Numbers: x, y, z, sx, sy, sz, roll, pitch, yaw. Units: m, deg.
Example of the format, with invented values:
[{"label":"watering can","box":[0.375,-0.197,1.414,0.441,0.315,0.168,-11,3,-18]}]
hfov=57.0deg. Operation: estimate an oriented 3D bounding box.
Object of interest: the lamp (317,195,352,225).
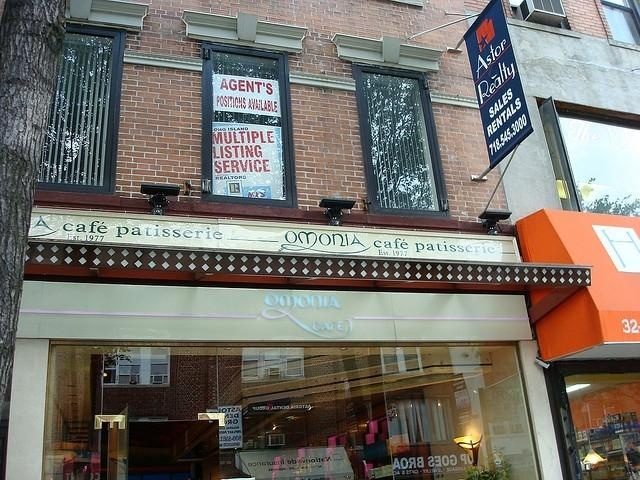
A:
[{"label":"lamp","box":[0.213,-0.359,8.694,0.491,0.431,0.381,4,-19,-10]}]

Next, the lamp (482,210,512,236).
[{"label":"lamp","box":[2.728,-0.302,9.393,0.502,0.478,0.370,3,-2,-16]}]

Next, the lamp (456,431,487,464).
[{"label":"lamp","box":[2.185,3.031,8.561,0.478,0.426,0.114,7,-27,-29]}]

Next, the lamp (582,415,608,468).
[{"label":"lamp","box":[4.007,3.089,8.718,0.313,0.508,0.312,-12,-32,19]}]

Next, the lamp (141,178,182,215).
[{"label":"lamp","box":[-2.189,-0.584,8.065,0.480,0.440,0.188,5,7,-16]}]
